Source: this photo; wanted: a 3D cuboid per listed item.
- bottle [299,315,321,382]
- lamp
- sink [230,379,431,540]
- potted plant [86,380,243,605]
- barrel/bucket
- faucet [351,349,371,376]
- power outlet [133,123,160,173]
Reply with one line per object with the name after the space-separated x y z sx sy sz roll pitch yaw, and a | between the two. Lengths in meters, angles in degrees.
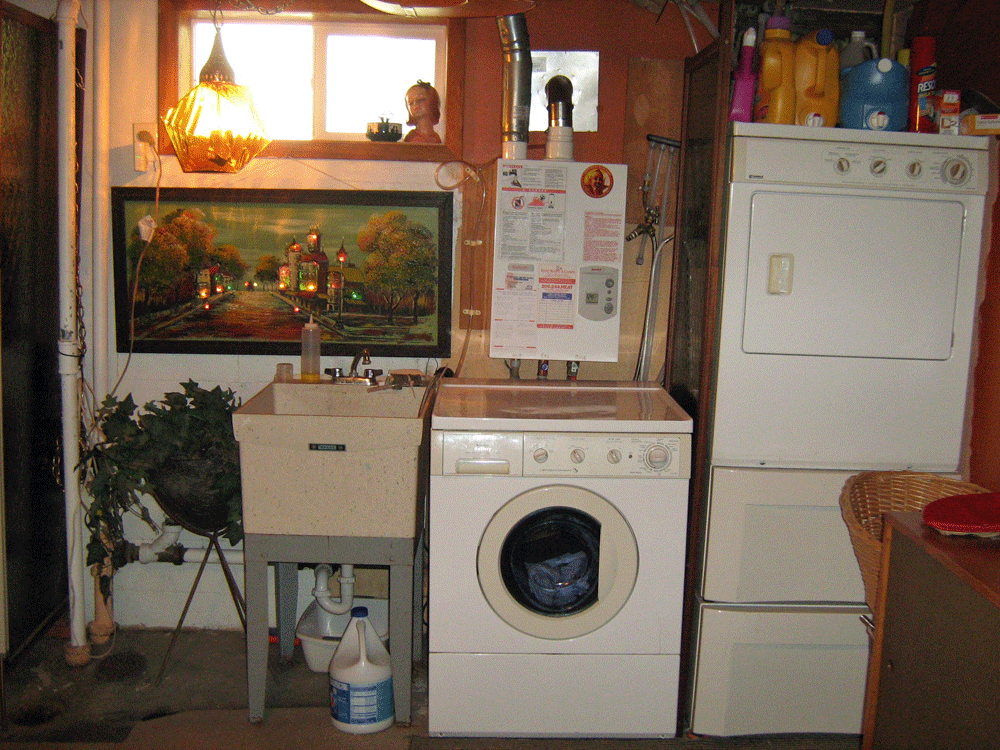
-0.784 -0.110 3.885 0.087 0.234 0.321 -2 9 -11 | bottle
-1.086 -1.128 3.619 0.378 0.667 0.407 6 9 -16 | lamp
-0.606 0.322 3.579 0.576 0.399 0.612 2 6 10 | sink
-1.314 0.429 3.743 0.686 0.777 0.363 4 0 5 | potted plant
-0.533 1.133 3.595 0.243 0.424 0.187 -2 9 -11 | barrel/bucket
-0.576 -0.048 3.894 0.084 0.127 0.366 -2 9 -8 | faucet
-1.489 -0.952 3.922 0.081 0.193 0.023 -1 12 -20 | power outlet
